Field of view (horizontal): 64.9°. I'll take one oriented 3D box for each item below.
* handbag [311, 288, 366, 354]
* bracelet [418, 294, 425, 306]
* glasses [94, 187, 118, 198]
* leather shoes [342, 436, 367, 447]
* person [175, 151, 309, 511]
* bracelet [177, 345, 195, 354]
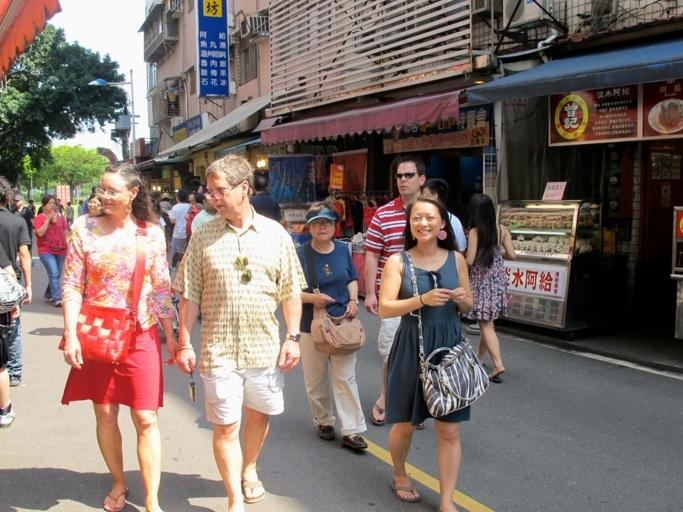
[{"bbox_3d":[-0.027,0.568,4.776,0.466,0.686,0.317,0,-25,-23],"label":"handbag"},{"bbox_3d":[0.537,0.291,3.579,0.036,0.072,0.076,1,5,8],"label":"bracelet"},{"bbox_3d":[-1.542,-0.415,3.581,0.133,0.062,0.045,1,5,6],"label":"glasses"},{"bbox_3d":[0.121,1.603,4.686,0.194,0.093,0.096,-2,0,32],"label":"leather shoes"},{"bbox_3d":[-0.665,0.568,3.647,0.866,2.463,0.427,-1,5,-19],"label":"person"},{"bbox_3d":[-1.012,0.626,3.555,0.053,0.044,0.057,-12,-9,3],"label":"bracelet"}]
